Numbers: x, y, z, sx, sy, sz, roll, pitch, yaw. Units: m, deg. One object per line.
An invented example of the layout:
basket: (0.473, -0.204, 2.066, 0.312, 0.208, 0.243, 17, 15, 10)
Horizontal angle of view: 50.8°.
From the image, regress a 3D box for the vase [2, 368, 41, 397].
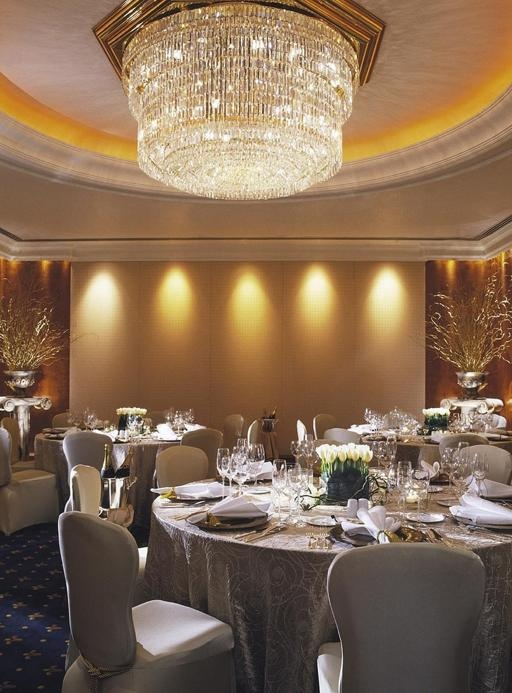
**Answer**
vase: (-3.172, 0.448, 7.281, 0.551, 0.370, 0.556, -6, -6, 44)

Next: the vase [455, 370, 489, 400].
vase: (2.747, 0.443, 6.789, 0.471, 0.378, 0.477, 2, -7, -6)
